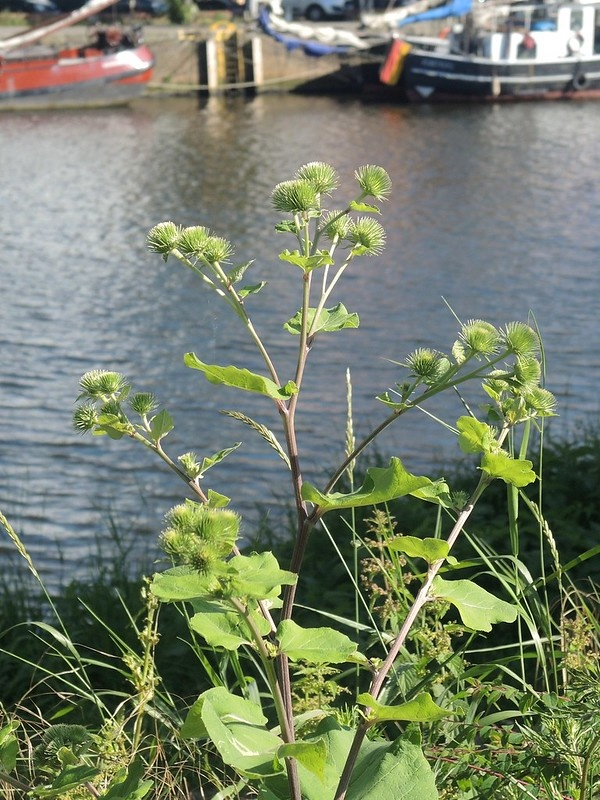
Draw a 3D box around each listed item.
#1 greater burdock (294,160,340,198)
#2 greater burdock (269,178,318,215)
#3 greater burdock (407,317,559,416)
[{"bbox_3d":[0.065,-0.629,4.510,0.139,0.119,0.118,2,43,6],"label":"greater burdock"},{"bbox_3d":[-0.018,-0.583,4.402,0.120,0.084,0.112,-7,11,-31],"label":"greater burdock"},{"bbox_3d":[0.568,-0.102,4.546,0.334,0.243,0.374,31,-28,-23],"label":"greater burdock"}]
